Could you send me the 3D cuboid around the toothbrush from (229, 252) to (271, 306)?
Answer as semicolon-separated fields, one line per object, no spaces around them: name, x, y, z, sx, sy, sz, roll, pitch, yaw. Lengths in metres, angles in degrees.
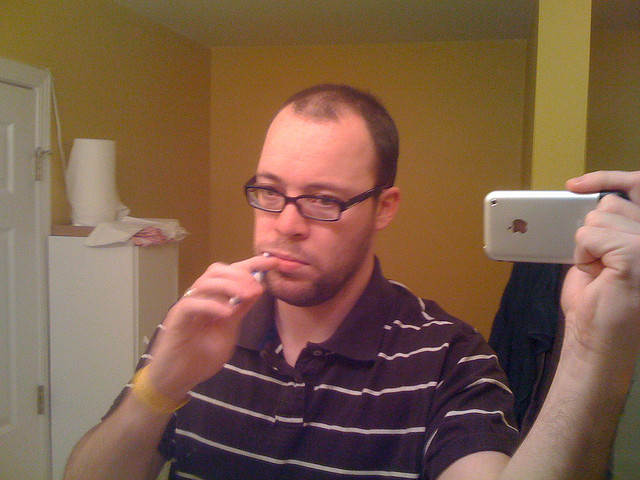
toothbrush;-0.126;0.075;1.258;0.039;0.045;0.176;-3;32;40

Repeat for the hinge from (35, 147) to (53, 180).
hinge;-0.942;-0.261;2.015;0.023;0.109;0.070;5;5;24

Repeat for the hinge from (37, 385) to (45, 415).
hinge;-0.975;0.559;2.052;0.023;0.101;0.024;1;5;-27

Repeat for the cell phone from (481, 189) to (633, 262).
cell phone;0.423;-0.028;1.050;0.246;0.134;0.040;3;5;-1
